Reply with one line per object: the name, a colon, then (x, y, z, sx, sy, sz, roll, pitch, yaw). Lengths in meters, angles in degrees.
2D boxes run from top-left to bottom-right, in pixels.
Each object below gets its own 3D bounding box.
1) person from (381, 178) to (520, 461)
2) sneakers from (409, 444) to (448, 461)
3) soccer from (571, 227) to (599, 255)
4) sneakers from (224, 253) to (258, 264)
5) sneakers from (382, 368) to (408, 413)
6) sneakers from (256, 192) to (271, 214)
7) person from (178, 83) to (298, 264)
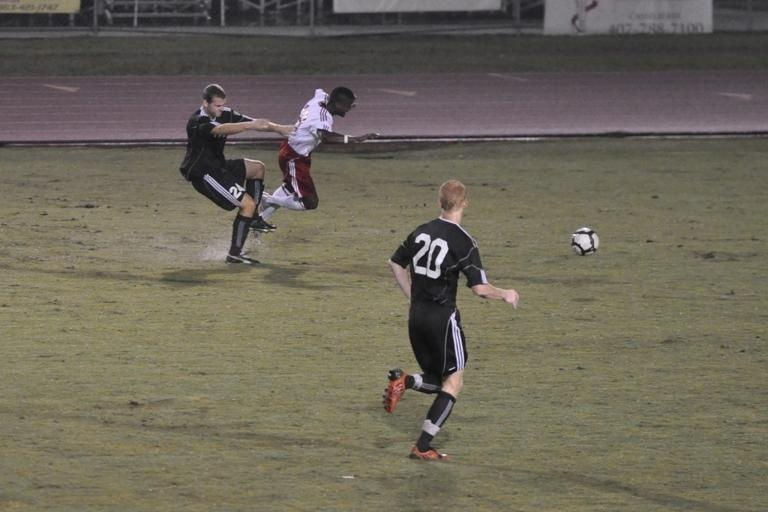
person: (0.689, 0.765, 18.735, 1.292, 3.398, 1.034, 4, 10, -8)
sneakers: (0.540, 2.436, 18.609, 0.556, 0.142, 0.157, 0, 5, -6)
soccer: (2.992, -0.216, 22.641, 0.389, 0.409, 0.317, 5, 8, 5)
sneakers: (-2.172, 0.041, 22.865, 0.545, 0.131, 0.156, -1, 14, -13)
sneakers: (0.128, 1.662, 18.770, 0.302, 0.546, 0.284, 15, 23, -4)
sneakers: (-1.927, -0.886, 24.336, 0.248, 0.179, 0.573, 7, 7, -7)
person: (-2.345, -1.277, 23.166, 1.495, 2.677, 1.419, 6, 9, 9)
